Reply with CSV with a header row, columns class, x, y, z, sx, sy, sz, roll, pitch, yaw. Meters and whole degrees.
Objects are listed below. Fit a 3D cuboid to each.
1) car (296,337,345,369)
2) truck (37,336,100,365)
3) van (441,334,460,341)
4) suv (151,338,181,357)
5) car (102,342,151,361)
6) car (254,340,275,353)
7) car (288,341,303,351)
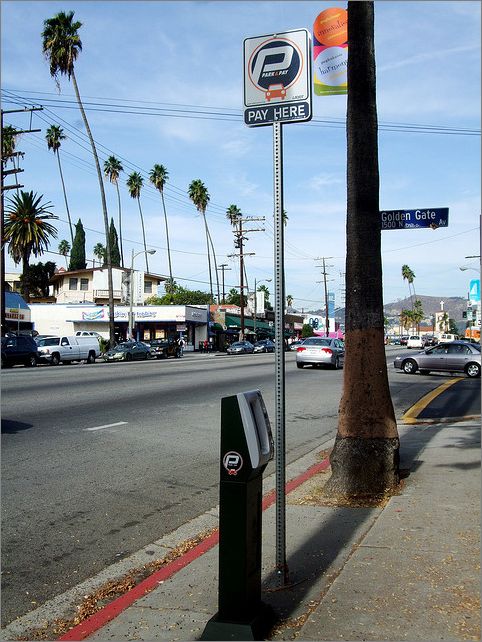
class,x,y,z,sx,sy,sz,roll,pitch,yaw
car,3.614,1.403,26.555,1.084,0.977,2.737,-1,-6,17
truck,-10.201,1.661,34.525,1.442,1.219,3.073,-4,-8,21
van,36.719,2.863,104.308,2.552,1.797,1.815,-3,2,25
suv,-5.684,2.039,45.469,1.087,1.141,2.104,-2,-11,10
car,-7.432,2.128,39.695,1.536,1.299,4.576,-3,3,18
car,2.489,2.575,59.467,1.099,1.009,2.721,-3,-7,20
car,5.859,2.729,64.821,1.180,1.090,2.916,-3,-4,2
